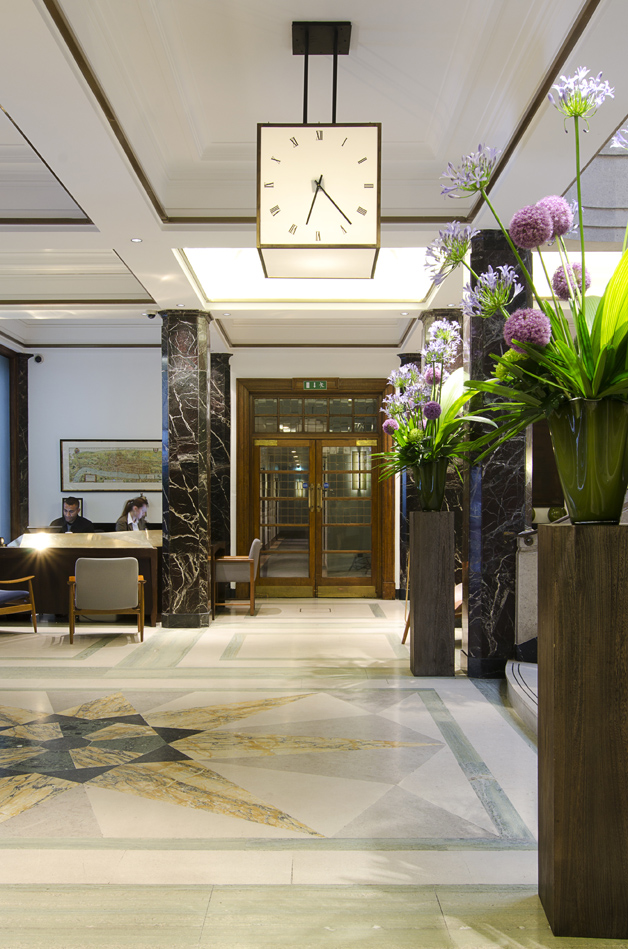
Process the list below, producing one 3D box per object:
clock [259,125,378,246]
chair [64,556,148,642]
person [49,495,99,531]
[{"bbox_3d":[0.023,-1.286,3.292,0.570,0.559,0.540,0,-2,0],"label":"clock"},{"bbox_3d":[-1.872,1.195,6.637,0.764,0.985,0.816,0,1,-7],"label":"chair"},{"bbox_3d":[-3.497,0.570,9.631,0.540,0.498,1.358,1,-4,-22],"label":"person"}]
